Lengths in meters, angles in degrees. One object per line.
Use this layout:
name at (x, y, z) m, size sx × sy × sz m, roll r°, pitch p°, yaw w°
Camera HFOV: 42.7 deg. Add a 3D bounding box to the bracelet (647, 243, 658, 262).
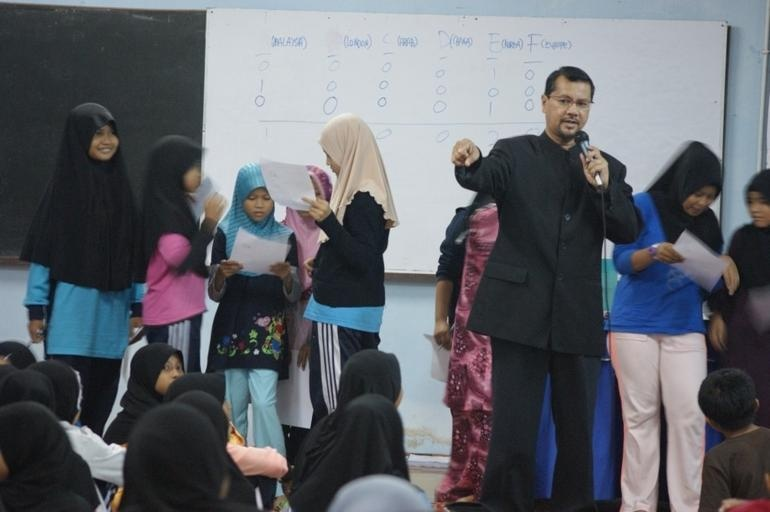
bracelet at (1.360, -0.026, 5.005) m, size 0.057 × 0.051 × 0.064 m, roll -11°, pitch -12°, yaw 2°
